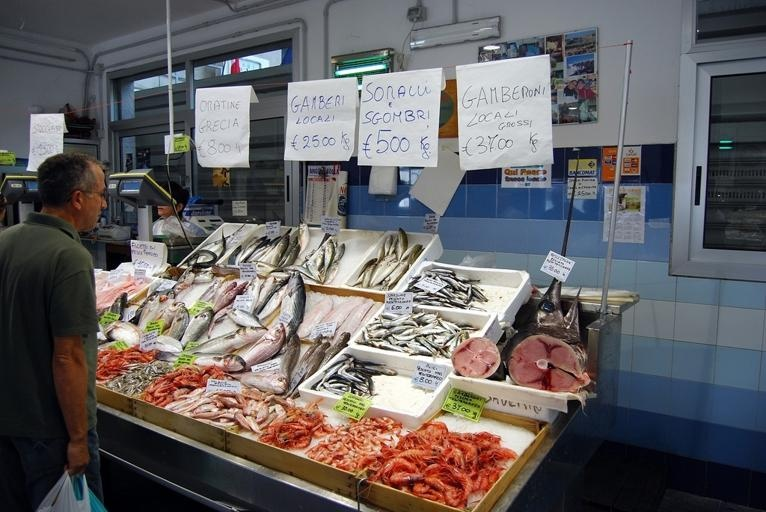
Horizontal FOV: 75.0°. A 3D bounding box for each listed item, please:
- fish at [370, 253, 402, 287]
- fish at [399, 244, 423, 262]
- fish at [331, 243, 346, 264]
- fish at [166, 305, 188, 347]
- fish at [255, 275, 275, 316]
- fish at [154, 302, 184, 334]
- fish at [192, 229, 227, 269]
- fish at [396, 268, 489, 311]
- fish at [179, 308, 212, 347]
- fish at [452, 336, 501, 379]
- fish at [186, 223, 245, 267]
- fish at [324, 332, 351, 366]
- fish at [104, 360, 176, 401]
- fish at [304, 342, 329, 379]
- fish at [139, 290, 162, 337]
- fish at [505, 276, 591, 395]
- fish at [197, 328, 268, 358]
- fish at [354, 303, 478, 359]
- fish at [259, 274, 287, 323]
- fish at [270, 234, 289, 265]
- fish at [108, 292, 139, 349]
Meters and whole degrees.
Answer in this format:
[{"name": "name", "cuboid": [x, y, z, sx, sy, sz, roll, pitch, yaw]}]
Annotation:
[{"name": "fish", "cuboid": [0.041, 0.086, 3.406, 0.126, 0.085, 0.354, 32, 47, 13]}, {"name": "fish", "cuboid": [0.195, -0.018, 3.368, 0.080, 0.060, 0.225, 21, 32, 28]}, {"name": "fish", "cuboid": [-0.317, -0.015, 3.596, 0.041, 0.209, 0.083, 27, -22, -13]}, {"name": "fish", "cuboid": [-1.343, 0.470, 3.260, 0.047, 0.100, 0.235, 13, 61, 6]}, {"name": "fish", "cuboid": [-0.793, 0.264, 3.392, 0.108, 0.068, 0.292, 18, 39, 6]}, {"name": "fish", "cuboid": [-1.429, 0.423, 3.339, 0.084, 0.049, 0.179, 18, 65, 29]}, {"name": "fish", "cuboid": [-1.320, -0.048, 3.872, 0.118, 0.138, 0.353, 29, 36, 1]}, {"name": "fish", "cuboid": [0.363, 0.211, 3.056, 0.310, 0.094, 0.272, 11, 18, 26]}, {"name": "fish", "cuboid": [-1.204, 0.458, 3.235, 0.087, 0.137, 0.332, 27, 53, 9]}, {"name": "fish", "cuboid": [0.473, 0.524, 2.557, 0.216, 0.213, 0.051, -19, -20, 15]}, {"name": "fish", "cuboid": [-1.293, -0.027, 3.954, 0.272, 0.095, 0.446, 6, 48, 40]}, {"name": "fish", "cuboid": [-0.276, 0.548, 2.970, 0.070, 0.066, 0.244, 36, 50, 4]}, {"name": "fish", "cuboid": [-1.424, 0.708, 2.925, 0.313, 0.112, 0.283, 7, 9, 35]}, {"name": "fish", "cuboid": [-0.380, 0.592, 2.868, 0.057, 0.086, 0.245, 29, 42, 0]}, {"name": "fish", "cuboid": [-1.614, 0.387, 3.458, 0.124, 0.091, 0.311, -11, 31, 24]}, {"name": "fish", "cuboid": [0.891, 0.396, 2.595, 0.287, 0.140, 0.590, 5, 32, 30]}, {"name": "fish", "cuboid": [-0.948, 0.534, 3.069, 0.483, 0.144, 0.127, -15, 32, 7]}, {"name": "fish", "cuboid": [0.214, 0.384, 2.928, 0.565, 0.229, 0.500, 3, 9, 37]}, {"name": "fish", "cuboid": [-0.731, 0.295, 3.318, 0.054, 0.140, 0.309, 31, 56, 7]}, {"name": "fish", "cuboid": [-0.762, -0.052, 3.741, 0.069, 0.063, 0.247, 20, 54, 5]}, {"name": "fish", "cuboid": [-1.778, 0.435, 3.436, 0.169, 0.238, 0.524, -12, 19, -31]}]
